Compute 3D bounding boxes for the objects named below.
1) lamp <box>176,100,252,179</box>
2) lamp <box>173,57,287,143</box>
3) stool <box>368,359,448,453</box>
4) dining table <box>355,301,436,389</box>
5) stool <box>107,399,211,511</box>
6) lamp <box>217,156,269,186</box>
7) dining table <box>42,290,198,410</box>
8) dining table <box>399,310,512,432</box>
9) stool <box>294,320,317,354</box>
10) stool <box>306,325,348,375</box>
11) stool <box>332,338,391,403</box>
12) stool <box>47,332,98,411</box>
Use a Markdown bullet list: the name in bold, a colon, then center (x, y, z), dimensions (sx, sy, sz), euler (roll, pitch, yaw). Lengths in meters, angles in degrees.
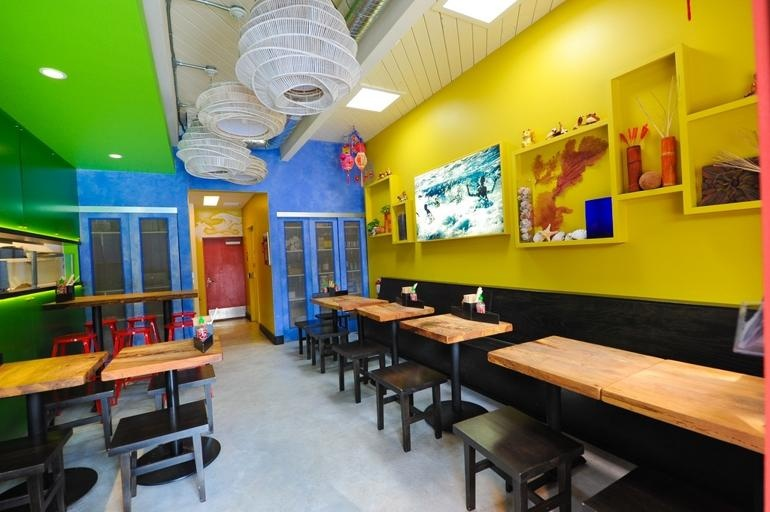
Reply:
- **lamp**: center (-2.185, -1.469, 6.066), dimensions (0.908, 0.435, 0.876), euler (1, -19, -7)
- **lamp**: center (-1.775, -1.571, 5.259), dimensions (1.256, 0.432, 0.916), euler (11, 26, 6)
- **stool**: center (0.137, 1.558, 5.239), dimensions (0.837, 0.890, 0.808), euler (-5, 9, -31)
- **dining table**: center (0.043, 0.996, 6.176), dimensions (0.956, 0.868, 0.935), euler (-9, 14, -41)
- **stool**: center (-2.102, 1.670, 4.670), dimensions (0.957, 0.870, 0.940), euler (-3, -1, -45)
- **lamp**: center (-2.023, -1.166, 6.833), dimensions (0.609, 0.228, 0.476), euler (3, -4, 22)
- **dining table**: center (-3.494, 1.040, 6.575), dimensions (0.862, 0.804, 1.733), euler (7, 8, 41)
- **dining table**: center (0.841, 1.216, 5.433), dimensions (1.215, 1.249, 1.285), euler (-6, 9, -33)
- **stool**: center (-1.271, 1.286, 7.862), dimensions (0.500, 0.474, 0.448), euler (-2, 5, -35)
- **stool**: center (-0.830, 1.295, 7.162), dimensions (0.578, 0.673, 0.731), euler (-3, 4, -28)
- **stool**: center (-0.391, 1.346, 6.100), dimensions (0.703, 0.714, 0.661), euler (-3, 5, -24)
- **stool**: center (-3.876, 1.238, 5.989), dimensions (0.590, 0.516, 0.571), euler (-1, -1, -18)
